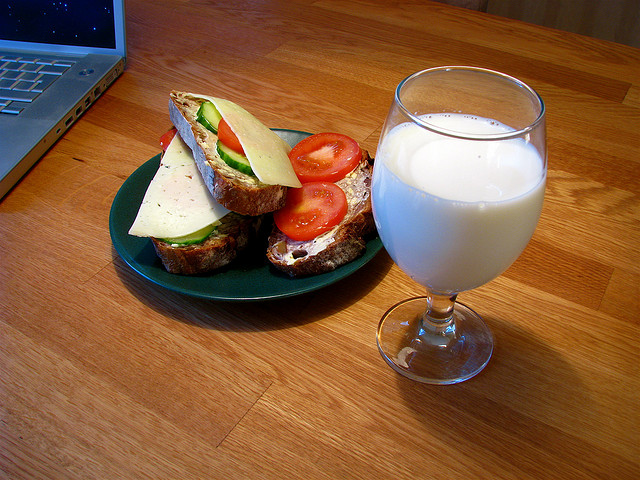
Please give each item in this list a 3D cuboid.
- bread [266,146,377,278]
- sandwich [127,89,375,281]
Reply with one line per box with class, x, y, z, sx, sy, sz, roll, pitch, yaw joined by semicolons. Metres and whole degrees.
bread;0.048;-0.045;0.912;0.181;0.049;0.259;26;53;26
sandwich;-0.140;-0.069;0.946;0.465;0.104;0.288;13;44;9
